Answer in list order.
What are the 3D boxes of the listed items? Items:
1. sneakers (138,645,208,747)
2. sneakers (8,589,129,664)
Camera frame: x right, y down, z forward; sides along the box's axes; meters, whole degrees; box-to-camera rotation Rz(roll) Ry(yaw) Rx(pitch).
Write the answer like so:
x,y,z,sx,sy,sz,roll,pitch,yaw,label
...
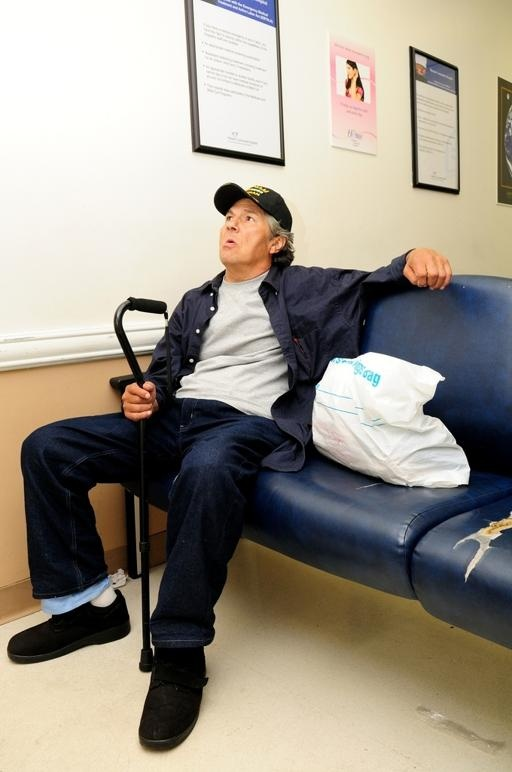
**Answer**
x,y,z,sx,sy,sz,roll,pitch,yaw,label
-0.163,0.620,1.230,0.072,0.082,0.203,1,2,7,sneakers
-0.469,0.598,1.608,0.313,0.134,0.104,-3,7,-36,sneakers
